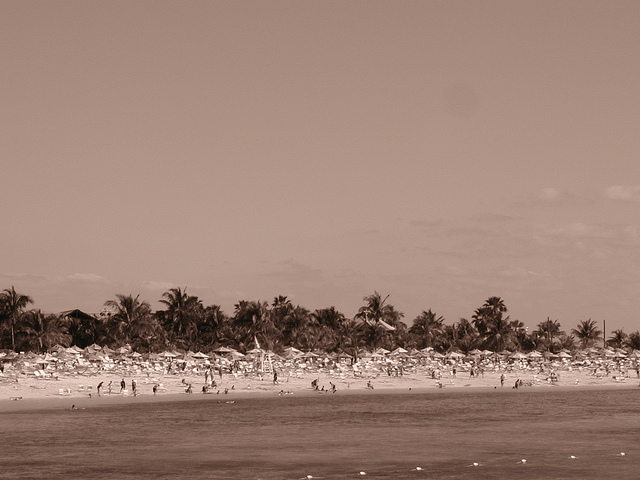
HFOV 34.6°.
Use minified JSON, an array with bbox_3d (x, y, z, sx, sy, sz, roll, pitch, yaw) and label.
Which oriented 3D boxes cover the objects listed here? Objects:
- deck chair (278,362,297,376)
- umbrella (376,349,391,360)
[{"bbox_3d":[-3.693,14.653,116.388,0.778,0.714,3.683,3,-14,20],"label":"deck chair"},{"bbox_3d":[8.613,15.409,137.830,1.430,1.155,1.403,1,6,16],"label":"umbrella"}]
